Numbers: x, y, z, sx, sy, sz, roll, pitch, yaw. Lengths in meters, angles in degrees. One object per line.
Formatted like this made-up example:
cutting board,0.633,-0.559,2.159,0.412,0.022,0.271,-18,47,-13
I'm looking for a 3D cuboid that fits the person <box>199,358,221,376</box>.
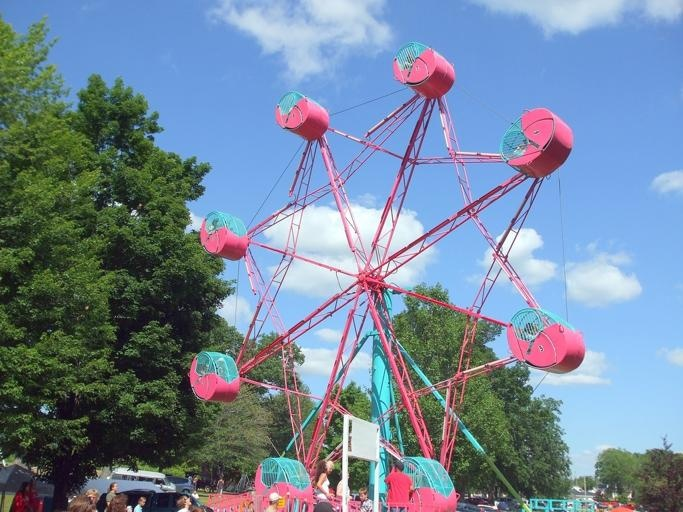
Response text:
person,-6.456,5.374,37.054,0.602,0.990,0.354,-13,-12,20
